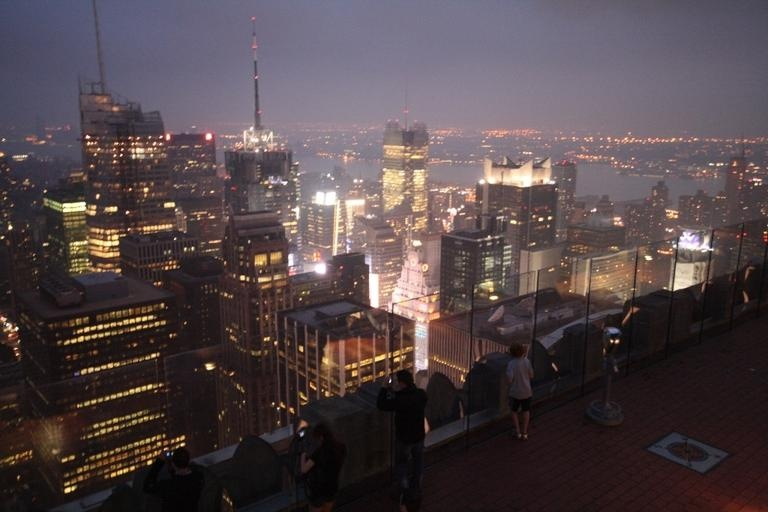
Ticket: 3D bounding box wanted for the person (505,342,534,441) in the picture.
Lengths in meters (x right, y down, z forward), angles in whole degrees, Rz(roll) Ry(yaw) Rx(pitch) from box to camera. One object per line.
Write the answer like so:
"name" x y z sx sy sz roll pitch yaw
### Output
"person" 1.924 1.909 9.207 0.357 1.337 0.372 -1 12 5
